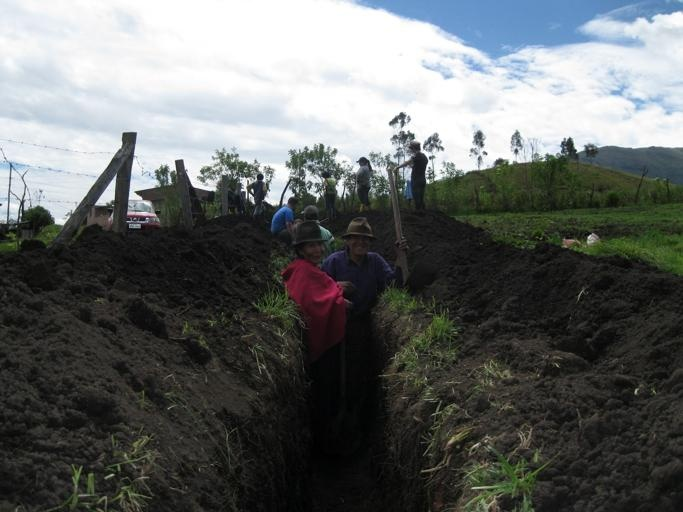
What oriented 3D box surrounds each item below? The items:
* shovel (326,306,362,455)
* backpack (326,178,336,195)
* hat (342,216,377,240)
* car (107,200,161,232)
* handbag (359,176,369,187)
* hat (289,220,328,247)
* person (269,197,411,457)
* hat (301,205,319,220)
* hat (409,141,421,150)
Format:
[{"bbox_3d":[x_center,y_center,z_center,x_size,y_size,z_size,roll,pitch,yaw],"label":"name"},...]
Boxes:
[{"bbox_3d":[-0.036,1.337,5.564,0.330,1.900,0.357,0,11,11],"label":"shovel"},{"bbox_3d":[-0.291,-1.948,14.211,0.281,0.439,0.497,0,5,0],"label":"backpack"},{"bbox_3d":[0.213,-0.359,6.198,0.279,0.187,0.334,3,-8,-4],"label":"hat"},{"bbox_3d":[-5.647,-1.217,14.660,0.775,0.751,2.171,-2,5,-21],"label":"car"},{"bbox_3d":[0.584,-1.955,13.393,0.326,0.287,0.206,7,14,-6],"label":"handbag"},{"bbox_3d":[-0.433,-0.289,6.622,0.412,0.206,0.494,-1,-10,-9],"label":"hat"},{"bbox_3d":[-0.054,0.815,5.835,0.917,2.482,1.440,2,5,23],"label":"person"},{"bbox_3d":[-0.475,-0.684,8.107,0.258,0.363,0.346,1,-5,-4],"label":"hat"},{"bbox_3d":[1.618,-2.379,11.247,0.180,0.163,0.394,0,5,-2],"label":"hat"}]
